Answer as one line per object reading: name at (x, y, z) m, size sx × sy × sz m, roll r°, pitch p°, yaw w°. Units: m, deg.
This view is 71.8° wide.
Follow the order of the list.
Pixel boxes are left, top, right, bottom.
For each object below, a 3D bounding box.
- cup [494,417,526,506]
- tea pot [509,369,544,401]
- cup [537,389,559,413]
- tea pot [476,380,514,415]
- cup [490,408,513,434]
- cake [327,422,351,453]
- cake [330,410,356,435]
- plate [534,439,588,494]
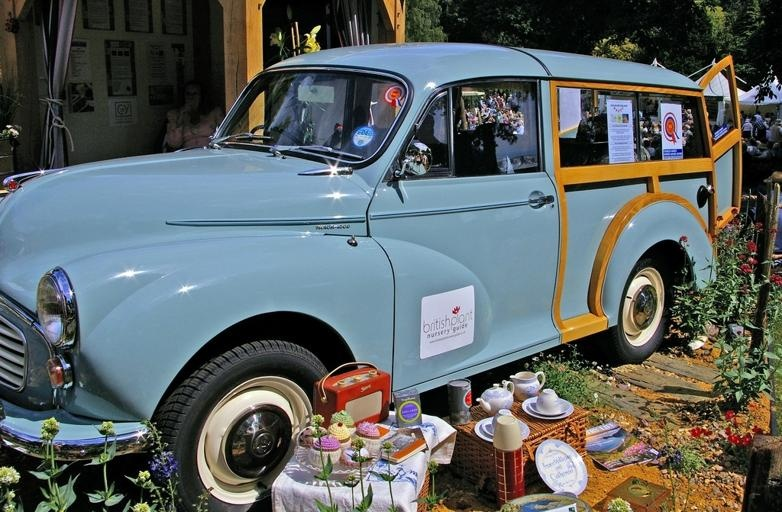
cup at (0.767, 1.307, 3.521) m, size 0.209 × 0.579 × 0.185 m, roll -2°, pitch 6°, yaw 3°
tea pot at (1.042, 0.966, 4.149) m, size 0.238 × 0.183 × 0.185 m, roll 2°, pitch -4°, yaw -37°
cup at (1.123, 1.006, 3.889) m, size 0.137 × 0.150 × 0.144 m, roll -1°, pitch 3°, yaw 0°
tea pot at (0.796, 1.016, 3.985) m, size 0.175 × 0.179 × 0.259 m, roll -24°, pitch -16°, yaw 35°
cup at (0.719, 1.082, 3.613) m, size 0.121 × 0.174 × 0.175 m, roll 3°, pitch -9°, yaw -2°
cake at (-0.296, 1.042, 3.147) m, size 0.115 × 0.119 × 0.126 m, roll 1°, pitch -1°, yaw -6°
cake at (-0.284, 0.973, 3.241) m, size 0.118 × 0.098 × 0.121 m, roll 3°, pitch -4°, yaw -29°
plate at (1.130, 1.385, 3.593) m, size 0.357 × 0.327 × 0.187 m, roll -5°, pitch 6°, yaw -20°
